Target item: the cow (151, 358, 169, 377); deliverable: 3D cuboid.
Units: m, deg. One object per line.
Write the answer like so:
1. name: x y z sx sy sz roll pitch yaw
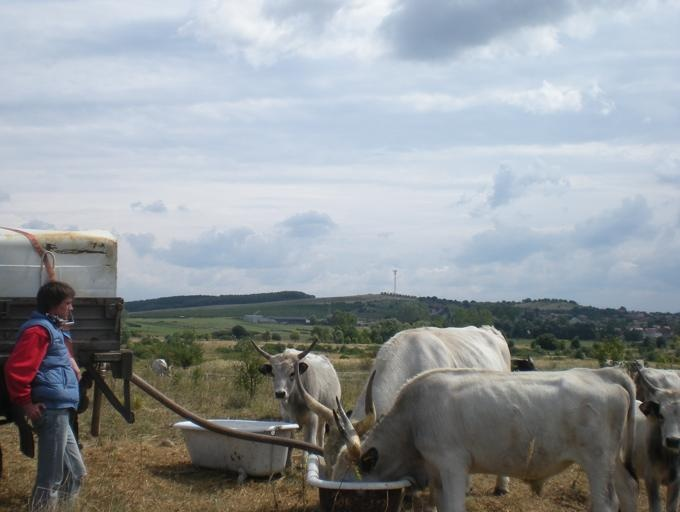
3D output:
1. cow: -6.668 4.107 28.912 0.400 0.650 1.041 3 -2 -10

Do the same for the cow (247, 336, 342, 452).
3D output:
1. cow: -0.752 2.861 15.865 1.106 2.101 2.875 -9 -26 9
